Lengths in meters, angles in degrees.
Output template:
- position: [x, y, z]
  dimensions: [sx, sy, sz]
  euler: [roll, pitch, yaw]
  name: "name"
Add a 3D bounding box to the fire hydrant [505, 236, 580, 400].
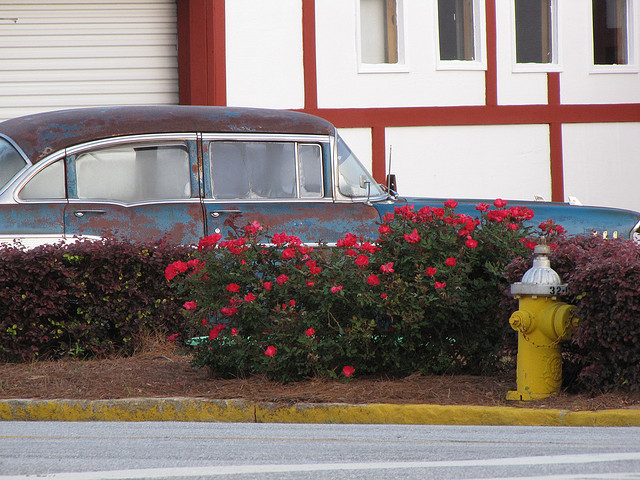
- position: [2.474, 0.861, 17.434]
  dimensions: [0.574, 1.787, 0.736]
  euler: [-1, 1, -5]
  name: "fire hydrant"
